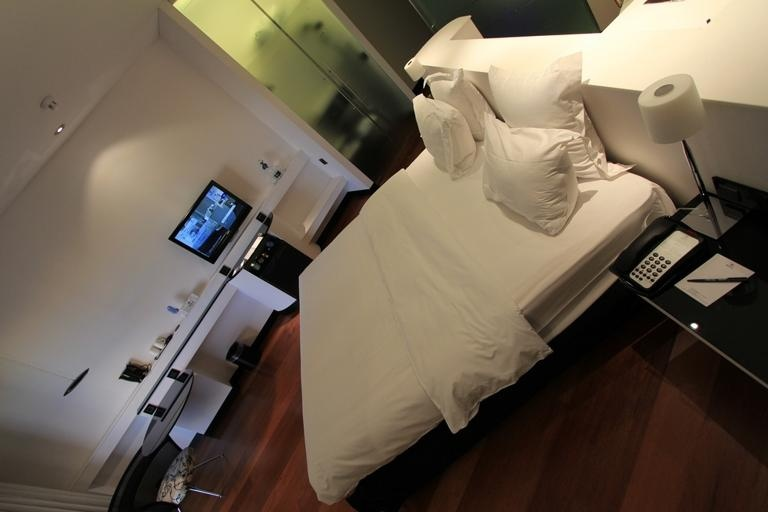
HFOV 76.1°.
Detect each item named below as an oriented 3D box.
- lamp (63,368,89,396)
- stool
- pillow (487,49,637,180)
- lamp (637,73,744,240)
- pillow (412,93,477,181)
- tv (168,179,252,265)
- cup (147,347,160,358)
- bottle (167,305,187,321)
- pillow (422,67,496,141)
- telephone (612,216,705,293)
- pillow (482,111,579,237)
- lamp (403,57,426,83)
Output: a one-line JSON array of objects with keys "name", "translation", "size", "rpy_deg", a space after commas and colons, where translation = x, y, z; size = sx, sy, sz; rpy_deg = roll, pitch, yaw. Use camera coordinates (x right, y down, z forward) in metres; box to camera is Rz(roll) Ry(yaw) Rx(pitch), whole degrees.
[{"name": "lamp", "translation": [-2.729, 1.113, 4.399], "size": [0.322, 0.072, 0.081], "rpy_deg": [-57, 10, -23]}, {"name": "stool", "translation": [-1.804, 2.073, 4.516], "size": [0.355, 0.470, 0.358], "rpy_deg": [-43, 29, 7]}, {"name": "pillow", "translation": [1.297, -0.959, 3.430], "size": [0.302, 0.701, 0.790], "rpy_deg": [-34, 30, -25]}, {"name": "lamp", "translation": [1.844, -0.618, 2.930], "size": [0.421, 0.994, 0.298], "rpy_deg": [-49, 19, -23]}, {"name": "pillow", "translation": [0.534, -0.978, 4.062], "size": [0.296, 0.468, 0.596], "rpy_deg": [-18, 45, -7]}, {"name": "tv", "translation": [-1.769, -0.309, 4.890], "size": [0.063, 0.518, 0.683], "rpy_deg": [15, 58, 48]}, {"name": "cup", "translation": [-2.185, 0.906, 4.685], "size": [0.089, 0.118, 0.173], "rpy_deg": [-52, 18, -27]}, {"name": "bottle", "translation": [-2.011, 0.549, 4.767], "size": [0.117, 0.152, 0.038], "rpy_deg": [-54, 18, -12]}, {"name": "pillow", "translation": [0.642, -1.211, 3.997], "size": [0.299, 0.595, 0.505], "rpy_deg": [-36, 27, -8]}, {"name": "telephone", "translation": [1.715, 0.000, 3.045], "size": [0.501, 0.201, 0.367], "rpy_deg": [-45, 55, 2]}, {"name": "pillow", "translation": [1.068, -0.565, 3.461], "size": [0.338, 0.542, 0.655], "rpy_deg": [-30, 45, -18]}, {"name": "lamp", "translation": [0.309, -1.751, 4.634], "size": [0.143, 0.166, 0.196], "rpy_deg": [-40, 18, 12]}]
